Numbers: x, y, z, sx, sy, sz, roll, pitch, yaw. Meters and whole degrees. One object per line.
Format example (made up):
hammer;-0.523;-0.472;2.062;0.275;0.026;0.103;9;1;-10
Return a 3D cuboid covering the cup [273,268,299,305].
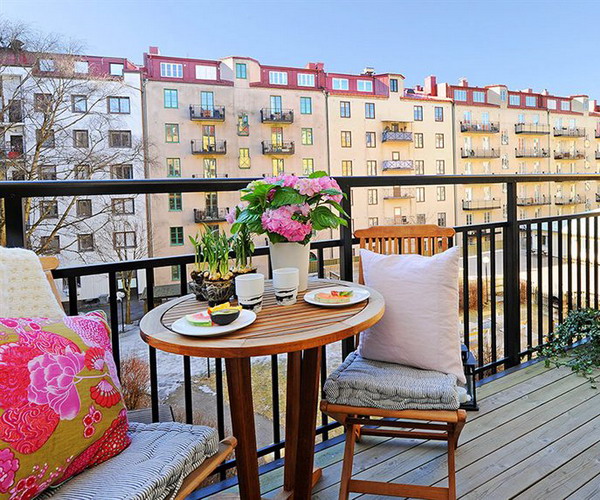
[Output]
cup;-0.059;0.145;2.427;0.115;0.144;0.125;-1;-1;0

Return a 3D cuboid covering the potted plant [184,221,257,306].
potted plant;-0.340;0.051;2.538;0.300;0.336;0.277;0;9;-9

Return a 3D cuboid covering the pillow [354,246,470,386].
pillow;0.472;0.302;2.594;0.515;0.621;0.228;-1;-15;21

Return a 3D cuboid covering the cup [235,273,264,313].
cup;-0.197;0.168;2.332;0.125;0.157;0.133;-2;1;0

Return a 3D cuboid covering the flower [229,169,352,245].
flower;-0.037;-0.179;2.530;0.343;0.231;0.331;-12;19;-38

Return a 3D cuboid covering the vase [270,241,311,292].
vase;-0.037;0.068;2.573;0.184;0.222;0.186;1;3;35
